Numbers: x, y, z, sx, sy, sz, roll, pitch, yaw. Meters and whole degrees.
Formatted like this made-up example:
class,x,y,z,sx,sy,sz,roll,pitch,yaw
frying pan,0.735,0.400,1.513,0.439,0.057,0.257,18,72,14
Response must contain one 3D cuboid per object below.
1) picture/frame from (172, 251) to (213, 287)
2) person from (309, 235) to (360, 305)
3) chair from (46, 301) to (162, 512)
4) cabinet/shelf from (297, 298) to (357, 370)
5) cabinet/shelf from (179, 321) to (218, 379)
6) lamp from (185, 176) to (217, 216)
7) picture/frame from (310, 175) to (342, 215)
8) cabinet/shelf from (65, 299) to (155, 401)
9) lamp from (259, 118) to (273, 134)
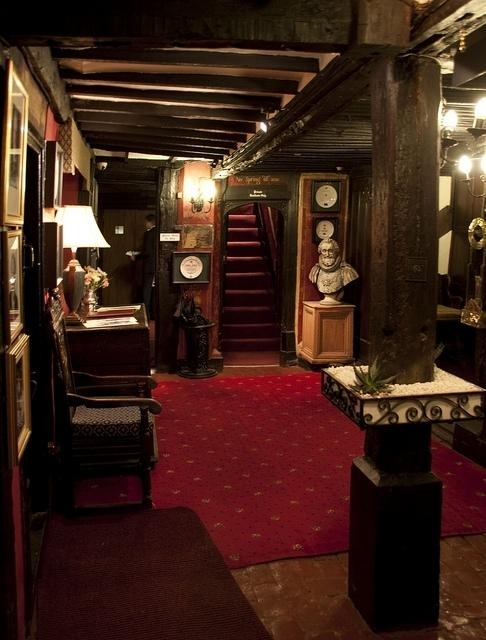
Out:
class,x,y,z,sx,sy,sz,roll,pitch,yaw
picture/frame,-0.809,-0.803,7.612,0.576,0.455,0.076,-2,3,-13
person,1.451,-0.788,7.994,0.754,1.032,0.294,2,6,7
chair,-0.883,0.552,3.259,0.637,1.396,0.943,0,6,-13
cabinet/shelf,1.441,0.101,8.529,1.106,1.422,1.172,-1,8,-12
cabinet/shelf,-0.576,0.413,7.726,0.767,0.804,0.730,0,7,-2
lamp,-0.668,-1.928,7.651,0.630,0.748,0.235,0,2,-12
picture/frame,1.361,-2.101,8.223,0.623,0.624,0.079,2,5,-9
cabinet/shelf,-1.294,0.265,5.049,0.585,0.505,1.032,-1,9,-16
lamp,0.179,-1.547,3.959,0.084,0.106,0.081,16,31,9
